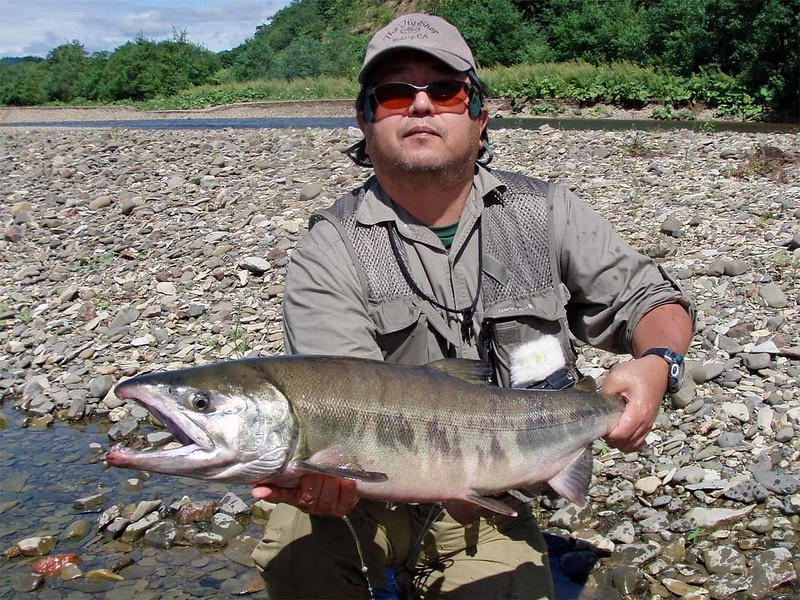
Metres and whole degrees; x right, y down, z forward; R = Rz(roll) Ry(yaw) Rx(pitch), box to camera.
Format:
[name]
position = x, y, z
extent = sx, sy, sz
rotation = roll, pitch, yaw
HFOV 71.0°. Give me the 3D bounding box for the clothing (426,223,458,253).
[clothing]
position = 0.221, -0.340, 2.865
extent = 0.149, 0.070, 0.161
rotation = -2, -1, -4
